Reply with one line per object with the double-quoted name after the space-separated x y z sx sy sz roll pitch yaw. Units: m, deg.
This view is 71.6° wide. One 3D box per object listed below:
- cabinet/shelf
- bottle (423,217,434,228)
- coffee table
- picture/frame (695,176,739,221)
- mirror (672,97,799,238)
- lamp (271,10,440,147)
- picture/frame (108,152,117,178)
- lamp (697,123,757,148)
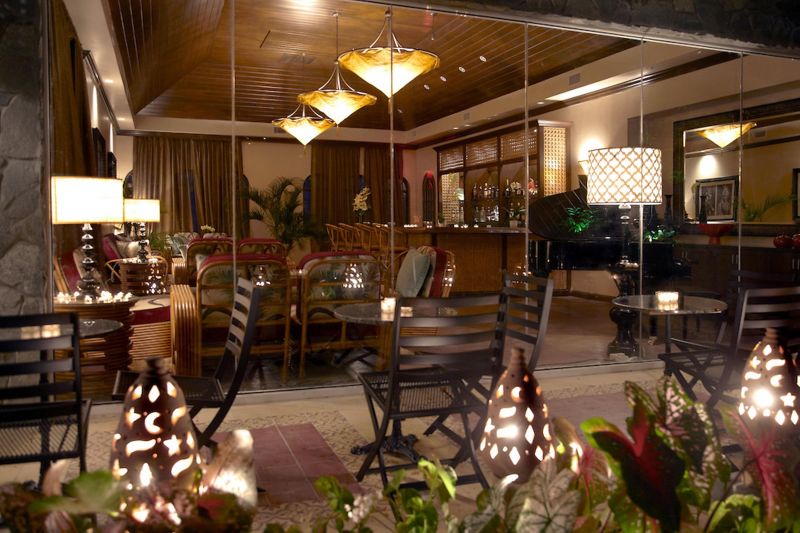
1.055 -0.979 6.253 1.158 1.061 2.984 -1 4 2 "cabinet/shelf"
0.229 -0.359 4.527 0.081 0.078 0.077 -1 10 -9 "bottle"
1.910 0.434 3.989 0.717 0.447 0.705 -1 4 -5 "coffee table"
2.854 -0.633 5.032 0.409 0.374 0.041 -3 6 -13 "picture/frame"
3.029 -0.952 5.021 1.302 0.907 0.059 1 6 18 "mirror"
-0.320 -1.452 4.444 1.213 1.010 0.881 0 4 7 "lamp"
-4.267 -1.517 8.262 0.089 0.359 0.373 -2 4 -19 "picture/frame"
2.981 -1.207 5.113 0.368 0.257 0.100 -1 2 9 "lamp"
